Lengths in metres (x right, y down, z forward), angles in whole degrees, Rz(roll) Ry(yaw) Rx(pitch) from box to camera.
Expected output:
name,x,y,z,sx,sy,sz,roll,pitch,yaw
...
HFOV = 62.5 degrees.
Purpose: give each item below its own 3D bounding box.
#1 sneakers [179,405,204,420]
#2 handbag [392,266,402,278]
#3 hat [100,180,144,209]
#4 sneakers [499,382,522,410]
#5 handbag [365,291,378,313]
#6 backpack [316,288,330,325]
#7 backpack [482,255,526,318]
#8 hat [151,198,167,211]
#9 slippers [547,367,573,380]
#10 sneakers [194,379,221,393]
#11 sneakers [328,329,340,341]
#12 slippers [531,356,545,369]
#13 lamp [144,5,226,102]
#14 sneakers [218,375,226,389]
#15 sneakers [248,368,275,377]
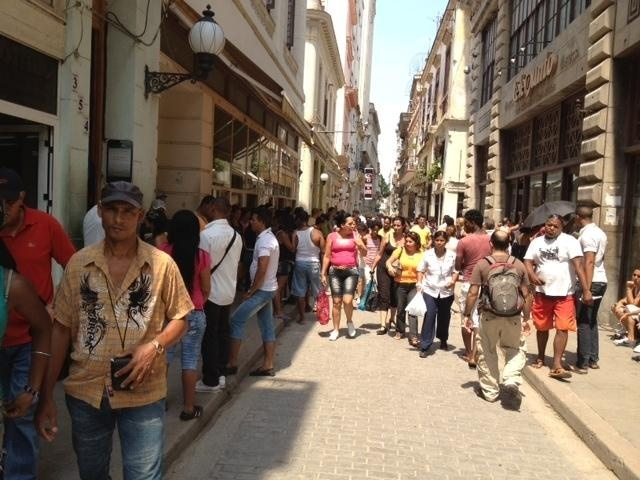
name,x,y,z,sx,sy,sz,roll,pitch,yaw
sneakers,-1.313,1.779,5.435,0.090,0.106,0.239,6,14,27
handbag,1.366,0.565,9.310,0.126,0.140,0.115,7,5,21
hat,-1.265,-0.287,3.345,0.248,0.160,0.164,0,4,-27
sneakers,2.344,1.934,6.446,0.185,0.225,0.459,-1,-43,16
handbag,0.947,1.109,9.737,0.258,0.552,0.357,1,3,0
backpack,0.031,1.140,9.028,0.251,0.598,0.136,2,-1,-30
backpack,2.237,0.611,6.460,0.433,0.719,0.639,0,0,7
hat,-2.698,-0.613,8.803,0.275,0.185,0.189,-6,-7,40
slippers,3.257,1.807,7.128,0.119,0.106,0.313,2,-10,-13
sneakers,-1.326,1.731,6.203,0.293,0.144,0.121,4,1,8
sneakers,0.248,1.676,9.269,0.130,0.172,0.366,0,-7,11
slippers,3.216,1.820,7.820,0.078,0.135,0.314,10,-1,-5
lamp,-2.153,-3.049,8.603,1.464,1.445,0.901,4,4,37
sneakers,-1.177,1.712,6.344,0.061,0.123,0.110,3,-9,-11
sneakers,-0.788,1.770,7.101,0.327,0.124,0.131,4,0,10
